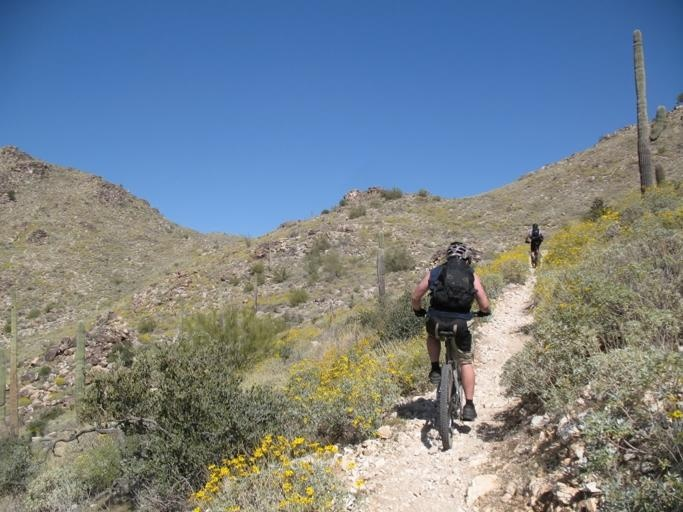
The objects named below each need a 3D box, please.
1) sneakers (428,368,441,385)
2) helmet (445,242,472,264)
[{"bbox_3d":[1.915,2.461,11.893,0.226,0.245,0.255,-3,4,21],"label":"sneakers"},{"bbox_3d":[2.444,-0.053,12.001,0.366,0.293,0.494,3,-3,10],"label":"helmet"}]
